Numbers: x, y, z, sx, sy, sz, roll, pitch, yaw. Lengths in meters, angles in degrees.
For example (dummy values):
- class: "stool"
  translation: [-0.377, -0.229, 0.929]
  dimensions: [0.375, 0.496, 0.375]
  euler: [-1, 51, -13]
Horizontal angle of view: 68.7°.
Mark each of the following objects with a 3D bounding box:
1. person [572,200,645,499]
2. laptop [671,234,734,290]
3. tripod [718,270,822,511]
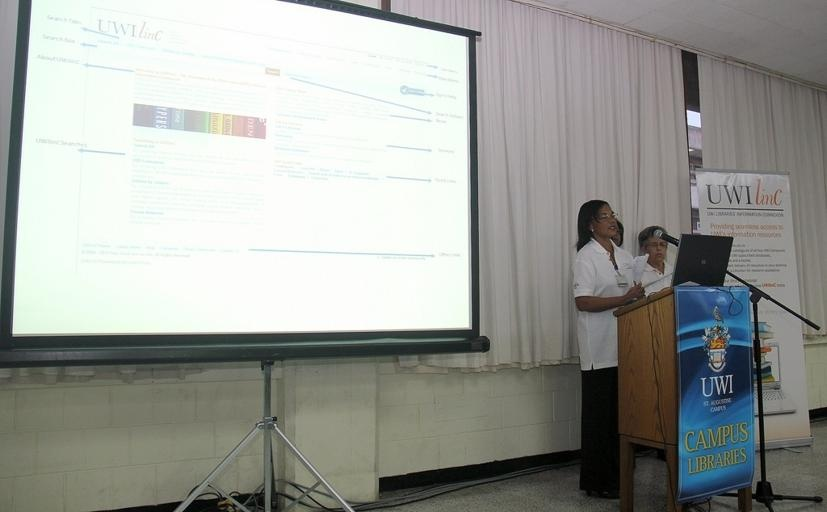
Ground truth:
- class: "person"
  translation: [1.494, 0.654, 4.666]
  dimensions: [0.479, 2.242, 0.523]
  euler: [-3, -1, 19]
- class: "laptop"
  translation: [1.977, 0.044, 4.328]
  dimensions: [0.493, 0.460, 0.353]
  euler: [2, 0, -11]
- class: "tripod"
  translation: [2.690, 0.933, 4.514]
  dimensions: [0.614, 1.859, 1.235]
  euler: [-3, -1, 33]
